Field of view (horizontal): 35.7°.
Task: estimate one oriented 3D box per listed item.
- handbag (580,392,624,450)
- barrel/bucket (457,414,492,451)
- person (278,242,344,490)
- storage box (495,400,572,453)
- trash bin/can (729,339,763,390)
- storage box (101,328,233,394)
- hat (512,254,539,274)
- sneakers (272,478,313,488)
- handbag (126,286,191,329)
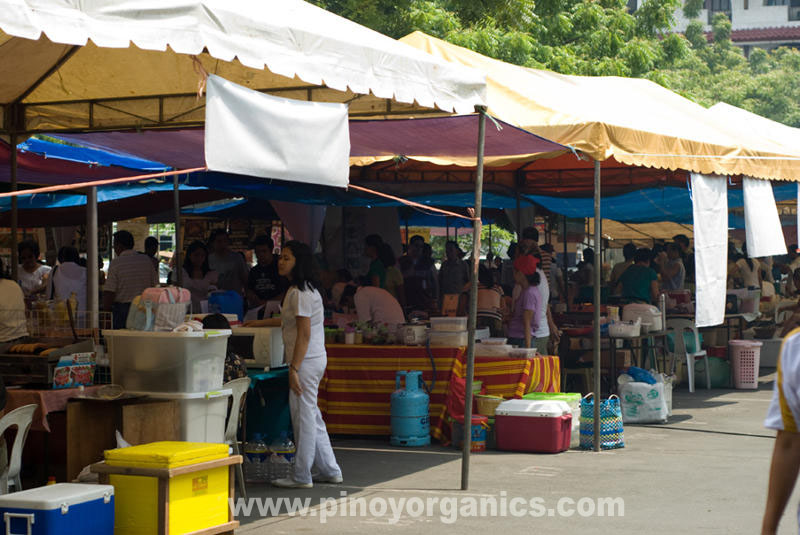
[{"bbox_3d":[2.710,2.064,16.687,0.622,0.721,0.469,-1,-2,-2],"label":"handbag"},{"bbox_3d":[0.978,2.212,16.570,0.489,0.462,0.332,-1,-2,-8],"label":"barrel/bucket"},{"bbox_3d":[-1.163,1.144,14.773,0.672,2.929,0.744,-2,-2,14],"label":"person"},{"bbox_3d":[1.771,2.139,16.779,0.992,0.648,0.757,-1,-4,27],"label":"storage box"},{"bbox_3d":[5.941,1.627,21.258,0.616,0.792,0.631,3,7,35],"label":"trash bin/can"},{"bbox_3d":[-2.617,1.065,13.942,1.359,0.630,1.209,-1,-3,11],"label":"storage box"},{"bbox_3d":[1.782,-0.065,17.715,0.317,0.229,0.255,8,-30,-10],"label":"hat"},{"bbox_3d":[-1.283,2.582,14.856,0.430,0.157,0.170,5,0,22],"label":"sneakers"},{"bbox_3d":[-2.719,0.495,13.699,0.490,0.472,0.663,4,15,-1],"label":"handbag"}]
